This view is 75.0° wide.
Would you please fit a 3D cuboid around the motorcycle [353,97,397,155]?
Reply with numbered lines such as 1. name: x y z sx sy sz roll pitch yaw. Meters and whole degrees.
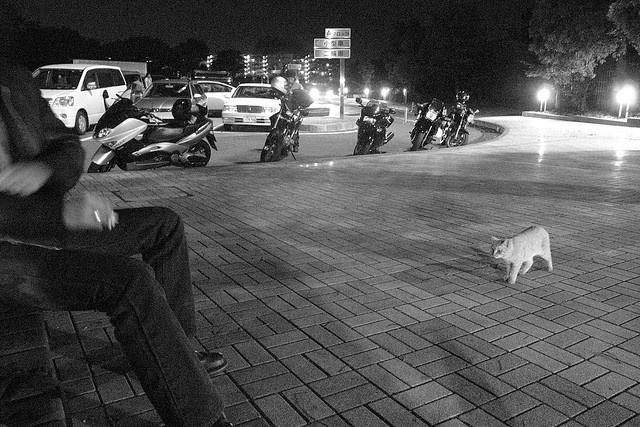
1. motorcycle: 1.478 -2.386 11.641 0.984 1.479 0.670 3 17 5

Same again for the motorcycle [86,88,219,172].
1. motorcycle: -3.741 -1.747 9.280 1.333 1.720 3.214 18 23 35

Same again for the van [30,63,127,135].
1. van: -10.221 -5.015 17.343 2.479 2.316 4.645 7 22 1

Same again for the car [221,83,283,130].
1. car: -3.002 -5.136 19.051 2.491 1.755 4.288 0 15 0

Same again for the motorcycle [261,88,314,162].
1. motorcycle: -0.894 -2.284 10.862 1.233 1.835 0.635 -8 20 -29

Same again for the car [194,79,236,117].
1. car: -6.228 -6.771 25.014 2.787 1.920 4.284 0 8 -4

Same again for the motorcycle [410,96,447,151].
1. motorcycle: 3.415 -2.785 13.899 1.001 1.694 2.952 25 7 8

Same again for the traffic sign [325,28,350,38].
1. traffic sign: 0.920 -9.558 22.237 1.211 0.474 0.141 3 17 5

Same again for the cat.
1. cat: 2.174 0.433 4.532 0.938 0.542 0.264 -10 12 -29
